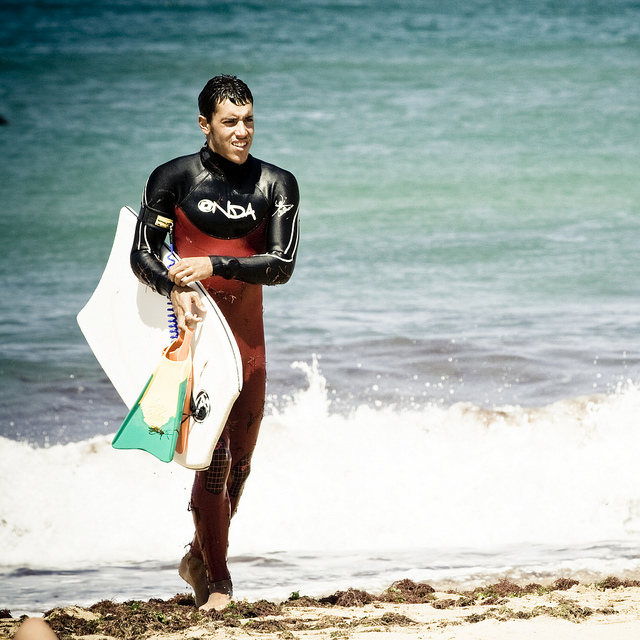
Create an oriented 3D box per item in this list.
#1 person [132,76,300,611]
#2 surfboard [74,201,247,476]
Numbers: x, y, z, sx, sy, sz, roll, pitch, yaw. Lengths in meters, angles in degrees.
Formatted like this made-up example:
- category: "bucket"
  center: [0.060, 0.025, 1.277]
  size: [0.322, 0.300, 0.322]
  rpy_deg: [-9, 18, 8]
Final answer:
- category: "person"
  center: [-0.606, 0.163, 10.306]
  size: [0.865, 3.390, 0.698]
  rpy_deg: [-3, -2, 31]
- category: "surfboard"
  center: [-0.996, 0.200, 10.260]
  size: [0.567, 1.073, 1.715]
  rpy_deg: [11, 26, -49]
